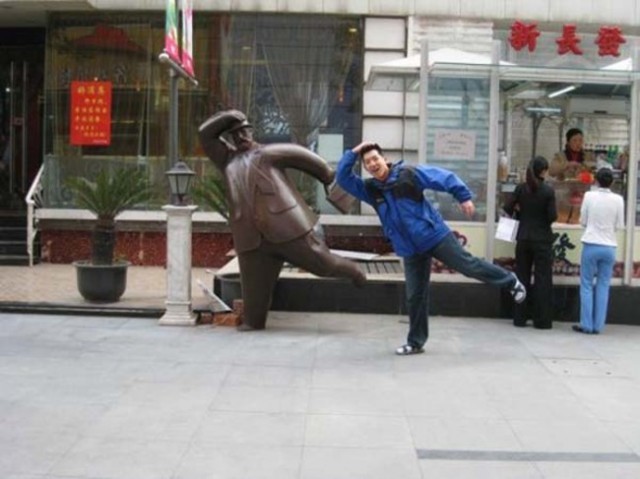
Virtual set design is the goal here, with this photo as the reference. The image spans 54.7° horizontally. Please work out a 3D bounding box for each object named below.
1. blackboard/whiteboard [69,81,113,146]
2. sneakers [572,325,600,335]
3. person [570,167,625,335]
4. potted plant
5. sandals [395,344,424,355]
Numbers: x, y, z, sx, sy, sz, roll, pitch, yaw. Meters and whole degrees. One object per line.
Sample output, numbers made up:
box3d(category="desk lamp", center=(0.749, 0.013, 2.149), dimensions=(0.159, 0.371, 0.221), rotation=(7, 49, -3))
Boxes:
box3d(category="blackboard/whiteboard", center=(-3.923, -2.231, 10.616), dimensions=(1.024, 1.500, 0.060), rotation=(1, 6, -1))
box3d(category="sneakers", center=(2.991, 1.029, 6.996), dimensions=(0.088, 0.099, 0.246), rotation=(-6, 13, -32))
box3d(category="person", center=(3.170, 0.109, 7.072), dimensions=(0.441, 1.833, 0.678), rotation=(5, 9, 29))
box3d(category="potted plant", center=(-2.846, -0.180, 8.514), dimensions=(1.038, 1.672, 2.402), rotation=(-2, 9, -19))
box3d(category="sandals", center=(0.868, 1.066, 6.042), dimensions=(0.271, 0.111, 0.100), rotation=(1, -2, -13))
